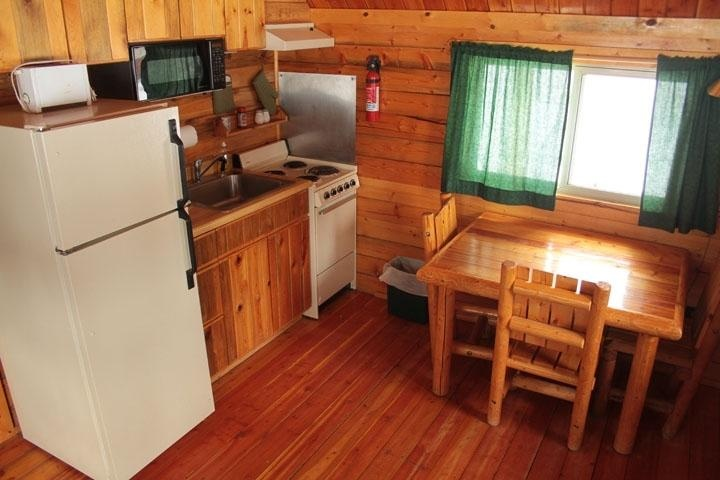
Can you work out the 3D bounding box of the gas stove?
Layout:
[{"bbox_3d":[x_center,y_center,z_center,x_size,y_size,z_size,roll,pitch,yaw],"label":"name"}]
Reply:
[{"bbox_3d":[-0.409,-0.574,4.406,0.522,0.194,0.485,17,34,27],"label":"gas stove"}]

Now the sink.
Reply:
[{"bbox_3d":[-0.920,-0.376,4.058,0.479,0.150,0.482,21,37,31],"label":"sink"}]

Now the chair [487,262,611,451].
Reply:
[{"bbox_3d":[1.206,0.722,3.232,0.699,1.306,0.726,15,51,22],"label":"chair"}]

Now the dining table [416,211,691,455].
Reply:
[{"bbox_3d":[1.526,0.711,4.020,1.923,1.181,1.429,16,39,26],"label":"dining table"}]

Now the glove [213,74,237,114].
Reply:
[{"bbox_3d":[-1.058,-1.129,3.997,0.037,0.325,0.253,22,39,22],"label":"glove"}]

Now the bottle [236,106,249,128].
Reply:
[{"bbox_3d":[-0.966,-1.022,4.276,0.078,0.159,0.213,4,25,12],"label":"bottle"}]

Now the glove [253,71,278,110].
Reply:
[{"bbox_3d":[-0.821,-1.266,4.421,0.145,0.357,0.190,9,28,22],"label":"glove"}]

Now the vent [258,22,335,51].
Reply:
[{"bbox_3d":[-0.486,-1.641,4.136,0.351,0.179,0.631,12,27,28],"label":"vent"}]

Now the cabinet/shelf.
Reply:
[{"bbox_3d":[-0.807,0.333,3.768,0.577,0.973,1.101,15,34,24],"label":"cabinet/shelf"}]

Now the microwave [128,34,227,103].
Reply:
[{"bbox_3d":[-1.229,-1.150,3.447,0.488,0.386,0.793,19,32,23],"label":"microwave"}]

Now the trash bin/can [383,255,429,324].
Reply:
[{"bbox_3d":[0.396,0.426,4.289,0.488,0.370,0.328,15,32,31],"label":"trash bin/can"}]
